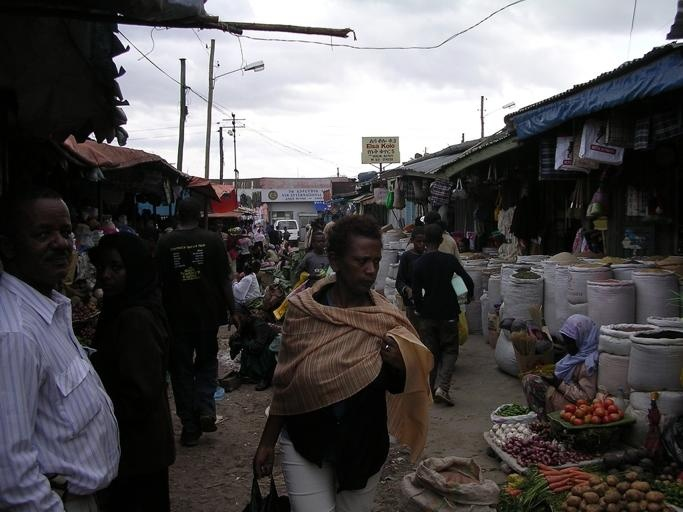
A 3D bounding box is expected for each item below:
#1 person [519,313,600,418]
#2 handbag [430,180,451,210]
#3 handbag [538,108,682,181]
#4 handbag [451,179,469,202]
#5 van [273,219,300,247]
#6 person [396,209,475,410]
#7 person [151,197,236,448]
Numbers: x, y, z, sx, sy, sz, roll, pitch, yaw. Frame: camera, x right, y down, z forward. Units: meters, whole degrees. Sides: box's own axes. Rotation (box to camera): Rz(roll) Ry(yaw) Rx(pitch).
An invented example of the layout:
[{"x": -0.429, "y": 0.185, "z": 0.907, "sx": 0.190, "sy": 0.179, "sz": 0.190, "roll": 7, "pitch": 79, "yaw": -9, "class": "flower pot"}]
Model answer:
[{"x": 2.324, "y": 1.071, "z": 6.086, "sx": 0.889, "sy": 1.486, "sz": 0.803, "roll": 1, "pitch": 2, "yaw": 9, "class": "person"}, {"x": 2.355, "y": -1.552, "z": 13.842, "sx": 0.531, "sy": 0.571, "sz": 0.332, "roll": -2, "pitch": 5, "yaw": 27, "class": "handbag"}, {"x": 3.415, "y": -1.478, "z": 7.816, "sx": 0.663, "sy": 0.652, "sz": 1.230, "roll": 2, "pitch": 6, "yaw": -15, "class": "handbag"}, {"x": 2.893, "y": -1.658, "z": 14.261, "sx": 0.414, "sy": 0.569, "sz": 0.204, "roll": 0, "pitch": -5, "yaw": -1, "class": "handbag"}, {"x": -3.705, "y": -1.628, "z": 40.736, "sx": 1.723, "sy": 1.543, "sz": 3.107, "roll": 0, "pitch": 10, "yaw": -6, "class": "van"}, {"x": 1.158, "y": 0.607, "z": 7.064, "sx": 0.861, "sy": 2.144, "sz": 1.004, "roll": 0, "pitch": 1, "yaw": 11, "class": "person"}, {"x": -1.330, "y": 0.614, "z": 5.747, "sx": 0.756, "sy": 2.261, "sz": 0.846, "roll": 0, "pitch": 1, "yaw": -3, "class": "person"}]
